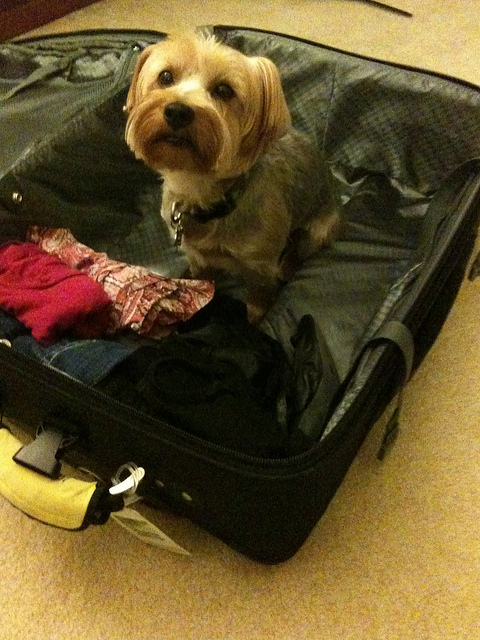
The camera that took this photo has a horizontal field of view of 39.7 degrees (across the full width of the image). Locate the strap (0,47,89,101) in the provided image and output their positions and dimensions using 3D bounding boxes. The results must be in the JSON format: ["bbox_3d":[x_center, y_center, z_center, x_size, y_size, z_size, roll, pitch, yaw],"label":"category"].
[{"bbox_3d":[-0.395,-0.496,1.351,0.191,0.021,0.027,-39,47,-19],"label":"strap"}]

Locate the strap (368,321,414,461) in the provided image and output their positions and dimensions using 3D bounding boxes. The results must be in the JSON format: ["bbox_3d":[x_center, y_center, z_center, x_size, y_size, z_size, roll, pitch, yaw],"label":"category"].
[{"bbox_3d":[0.229,0.127,1.035,0.064,0.305,0.061,5,39,12],"label":"strap"}]

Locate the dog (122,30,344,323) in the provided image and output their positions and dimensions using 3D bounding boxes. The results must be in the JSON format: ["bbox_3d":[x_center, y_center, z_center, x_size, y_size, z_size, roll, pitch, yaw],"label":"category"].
[{"bbox_3d":[0.007,-0.277,1.322,0.347,0.523,0.568,21,27,23],"label":"dog"}]

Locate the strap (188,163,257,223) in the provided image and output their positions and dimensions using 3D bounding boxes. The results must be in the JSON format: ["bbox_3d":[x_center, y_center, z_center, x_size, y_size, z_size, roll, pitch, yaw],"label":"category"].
[{"bbox_3d":[-0.037,-0.229,1.194,0.082,0.026,0.106,3,59,39],"label":"strap"}]
